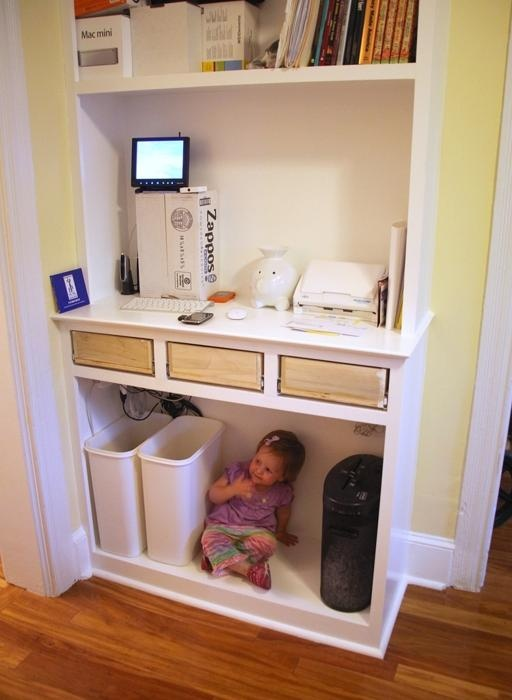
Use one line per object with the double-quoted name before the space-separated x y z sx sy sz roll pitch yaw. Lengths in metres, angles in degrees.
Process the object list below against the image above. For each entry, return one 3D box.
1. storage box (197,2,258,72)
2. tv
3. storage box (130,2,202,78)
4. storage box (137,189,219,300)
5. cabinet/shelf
"storage box" -0.064 -0.818 1.482 0.162 0.167 0.115 -3 15 -7
"tv" -0.279 -0.565 1.728 0.177 0.148 0.098 2 1 11
"storage box" -0.228 -0.818 1.481 0.210 0.196 0.116 9 28 21
"storage box" -0.233 -0.325 1.688 0.257 0.372 0.187 7 22 18
"cabinet/shelf" -0.049 -0.079 1.608 1.028 1.698 0.455 5 16 20
